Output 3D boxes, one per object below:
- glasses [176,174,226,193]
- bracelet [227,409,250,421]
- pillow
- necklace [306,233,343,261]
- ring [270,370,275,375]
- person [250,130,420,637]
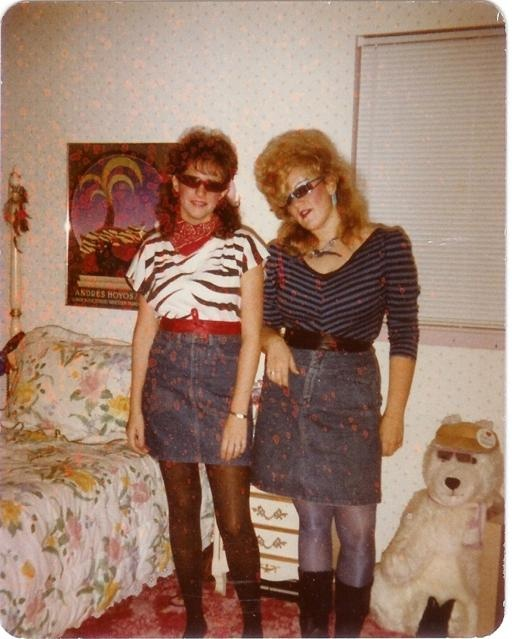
[{"bbox_3d":[-0.134,-0.331,1.379,0.118,0.038,0.028,5,3,-3],"label":"glasses"},{"bbox_3d":[-0.043,0.231,1.364,0.044,0.014,0.018,5,3,-10],"label":"bracelet"},{"bbox_3d":[-0.596,0.226,1.848,0.421,0.346,0.118,5,-5,32],"label":"pillow"},{"bbox_3d":[0.156,-0.181,1.333,0.056,0.047,0.022,-12,-4,40],"label":"necklace"},{"bbox_3d":[0.039,0.128,1.374,0.002,0.011,0.010,6,-11,-40],"label":"ring"},{"bbox_3d":[0.168,0.207,1.400,0.412,0.926,0.161,5,3,10],"label":"person"}]
